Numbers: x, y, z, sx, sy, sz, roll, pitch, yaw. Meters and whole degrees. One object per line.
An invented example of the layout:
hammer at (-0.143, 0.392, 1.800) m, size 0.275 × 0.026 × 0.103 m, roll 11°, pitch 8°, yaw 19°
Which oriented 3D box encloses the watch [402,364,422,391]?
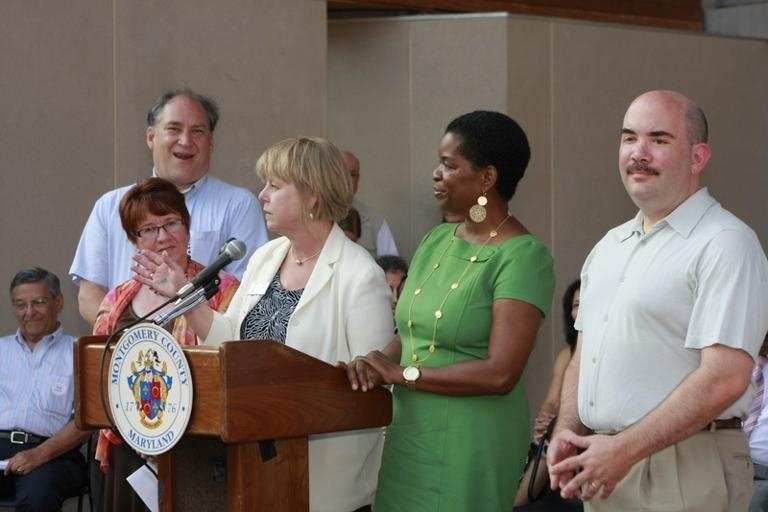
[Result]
watch at (0.107, 0.460, 3.336) m, size 0.061 × 0.076 × 0.072 m, roll -1°, pitch -17°, yaw 5°

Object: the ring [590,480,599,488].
ring at (0.730, 0.801, 3.065) m, size 0.006 × 0.015 × 0.021 m, roll 11°, pitch 37°, yaw -44°

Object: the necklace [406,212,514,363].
necklace at (0.340, 0.089, 3.612) m, size 0.067 × 0.837 × 0.244 m, roll 41°, pitch -27°, yaw -30°

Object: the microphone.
microphone at (-0.726, 0.062, 3.738) m, size 0.086 × 0.321 × 0.089 m, roll 52°, pitch -14°, yaw -31°

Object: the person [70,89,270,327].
person at (-1.181, -0.081, 4.787) m, size 1.128 × 1.716 × 0.937 m, roll 1°, pitch -4°, yaw -6°

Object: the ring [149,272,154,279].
ring at (-0.876, 0.078, 3.327) m, size 0.012 × 0.018 × 0.005 m, roll 5°, pitch 8°, yaw 6°
